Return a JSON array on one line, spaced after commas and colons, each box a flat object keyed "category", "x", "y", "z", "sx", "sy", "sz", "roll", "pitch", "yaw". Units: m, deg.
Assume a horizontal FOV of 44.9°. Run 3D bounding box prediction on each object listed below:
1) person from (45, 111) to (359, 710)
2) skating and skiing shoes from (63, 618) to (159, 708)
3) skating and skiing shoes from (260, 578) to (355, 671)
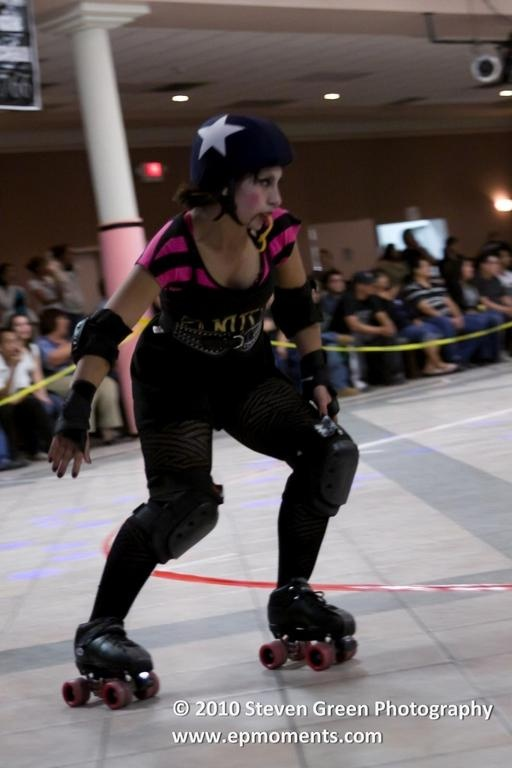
[{"category": "person", "x": -0.117, "y": 0.066, "z": 1.451, "sx": 0.772, "sy": 1.204, "sz": 0.453, "roll": -5, "pitch": 6, "yaw": -26}, {"category": "skating and skiing shoes", "x": -0.326, "y": 0.628, "z": 1.404, "sx": 0.208, "sy": 0.165, "sz": 0.154, "roll": -15, "pitch": -18, "yaw": 37}, {"category": "skating and skiing shoes", "x": 0.135, "y": 0.583, "z": 1.503, "sx": 0.231, "sy": 0.192, "sz": 0.155, "roll": -14, "pitch": -21, "yaw": 36}]
